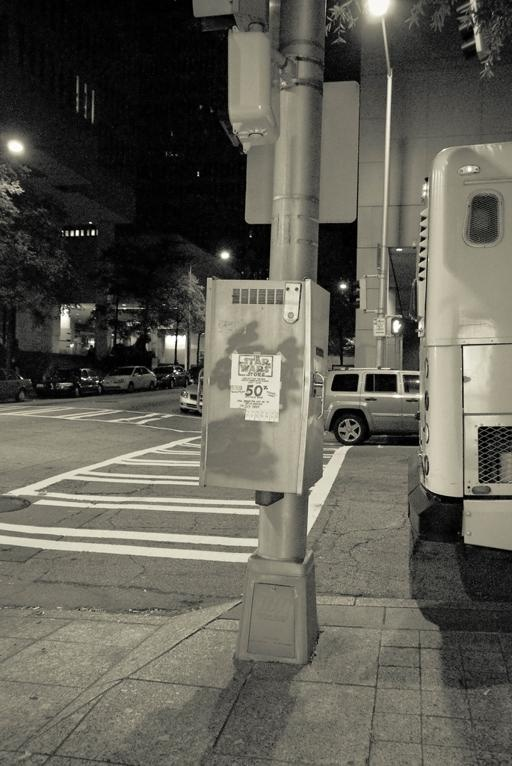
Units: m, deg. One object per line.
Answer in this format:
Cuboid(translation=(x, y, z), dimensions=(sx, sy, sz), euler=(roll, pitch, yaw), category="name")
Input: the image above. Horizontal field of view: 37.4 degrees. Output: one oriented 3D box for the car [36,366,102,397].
Cuboid(translation=(-8.798, -0.006, 35.731), dimensions=(1.430, 1.314, 3.815), euler=(0, 2, 18), category="car")
